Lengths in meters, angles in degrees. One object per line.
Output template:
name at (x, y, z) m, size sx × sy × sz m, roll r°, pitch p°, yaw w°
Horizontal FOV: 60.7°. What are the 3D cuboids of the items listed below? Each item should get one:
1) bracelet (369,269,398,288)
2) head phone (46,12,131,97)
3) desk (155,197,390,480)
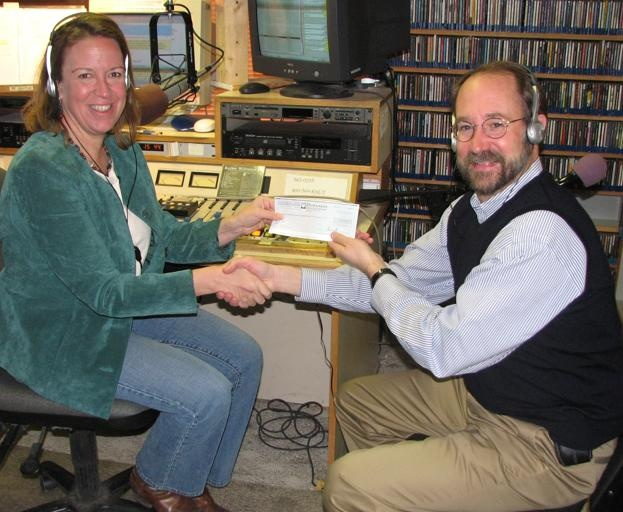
bracelet at (0.214, 0.057, 1.605) m, size 0.018 × 0.061 × 0.064 m, roll 37°, pitch 17°, yaw 26°
head phone at (-0.711, -0.630, 1.698) m, size 0.246 × 0.254 × 0.195 m, roll -1°, pitch 16°, yaw -18°
desk at (-0.038, 0.425, 2.762) m, size 1.389 × 1.251 × 1.065 m, roll 6°, pitch 16°, yaw 17°
